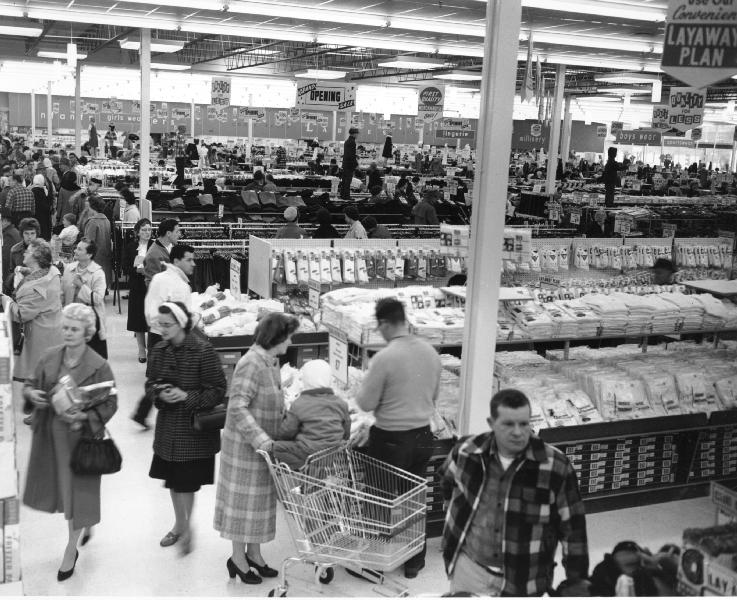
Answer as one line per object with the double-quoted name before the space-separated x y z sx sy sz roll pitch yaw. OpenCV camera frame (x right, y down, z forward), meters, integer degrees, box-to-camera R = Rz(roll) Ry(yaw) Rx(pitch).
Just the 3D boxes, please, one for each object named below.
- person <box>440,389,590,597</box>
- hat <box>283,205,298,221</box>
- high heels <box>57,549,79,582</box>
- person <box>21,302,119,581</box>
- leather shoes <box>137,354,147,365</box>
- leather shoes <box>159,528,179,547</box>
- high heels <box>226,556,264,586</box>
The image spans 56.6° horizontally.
"person" 0.667 0.953 3.190 0.717 1.032 0.288 5 11 21
"hat" -1.175 -1.296 10.254 0.205 0.321 0.159 0 7 1
"high heels" -2.091 1.856 4.845 0.082 0.115 0.259 5 18 19
"person" -2.093 1.000 4.698 0.612 1.932 0.633 12 16 8
"leather shoes" -3.069 0.795 9.282 0.113 0.101 0.118 3 8 -18
"leather shoes" -1.523 1.826 5.243 0.081 0.071 0.163 7 13 35
"high heels" -0.884 1.905 4.878 0.292 0.146 0.111 9 1 30
